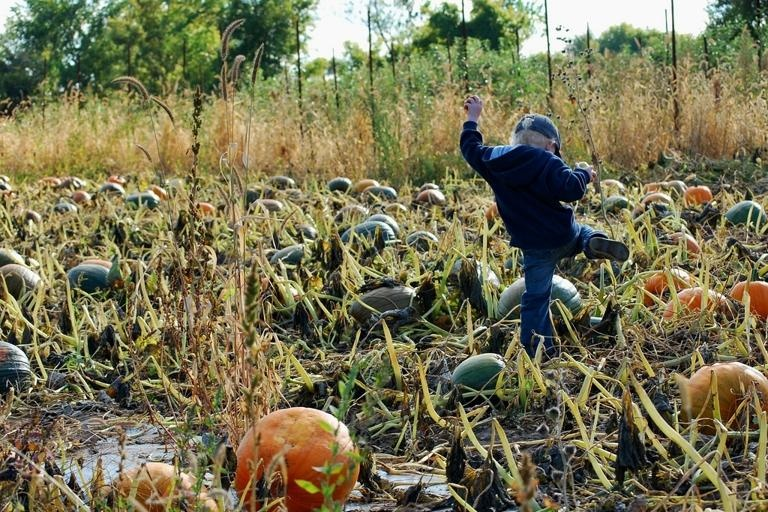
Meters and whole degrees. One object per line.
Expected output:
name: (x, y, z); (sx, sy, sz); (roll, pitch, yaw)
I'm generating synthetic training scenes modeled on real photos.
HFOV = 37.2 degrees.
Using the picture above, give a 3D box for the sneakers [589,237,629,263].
sneakers: (2.147, -0.048, 10.931); (0.374, 0.218, 0.195); (20, 4, 6)
